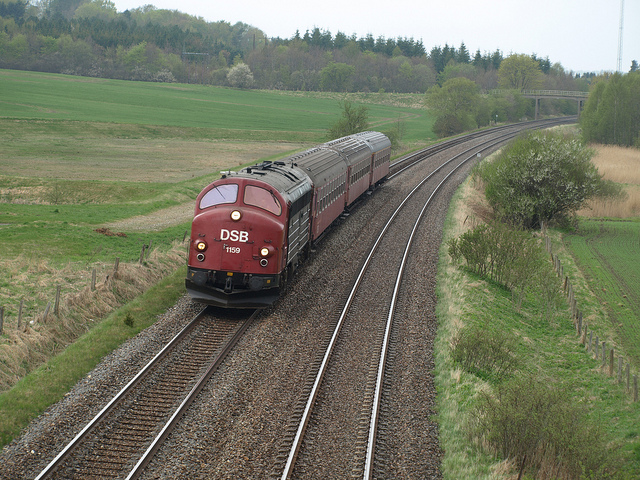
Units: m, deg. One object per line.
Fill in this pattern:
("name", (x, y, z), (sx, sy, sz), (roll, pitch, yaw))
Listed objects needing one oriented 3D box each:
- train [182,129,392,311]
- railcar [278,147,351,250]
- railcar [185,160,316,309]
("train", (0.155, -3.518, 35.947), (3.701, 5.094, 29.194), (2, 15, 14))
("railcar", (-0.691, -2.409, 34.020), (3.671, 4.983, 14.516), (0, 12, 10))
("railcar", (-2.719, -0.145, 24.564), (3.551, 5.769, 6.317), (10, 18, 20))
